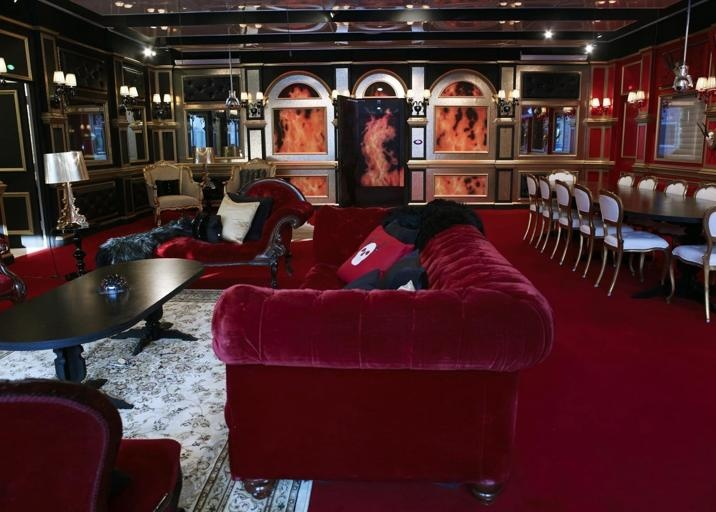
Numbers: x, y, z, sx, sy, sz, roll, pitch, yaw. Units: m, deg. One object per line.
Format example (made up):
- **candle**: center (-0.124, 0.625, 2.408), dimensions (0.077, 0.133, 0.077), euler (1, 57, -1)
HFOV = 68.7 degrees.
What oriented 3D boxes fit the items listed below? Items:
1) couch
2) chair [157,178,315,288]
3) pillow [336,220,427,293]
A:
- **couch**: center (0.164, 0.503, 3.004), dimensions (1.487, 1.091, 1.421), euler (-1, 13, 4)
- **chair**: center (-1.080, -0.194, 5.417), dimensions (1.495, 0.925, 1.249), euler (5, 22, 17)
- **pillow**: center (0.162, 0.053, 3.546), dimensions (0.194, 0.381, 0.636), euler (36, 2, -11)
